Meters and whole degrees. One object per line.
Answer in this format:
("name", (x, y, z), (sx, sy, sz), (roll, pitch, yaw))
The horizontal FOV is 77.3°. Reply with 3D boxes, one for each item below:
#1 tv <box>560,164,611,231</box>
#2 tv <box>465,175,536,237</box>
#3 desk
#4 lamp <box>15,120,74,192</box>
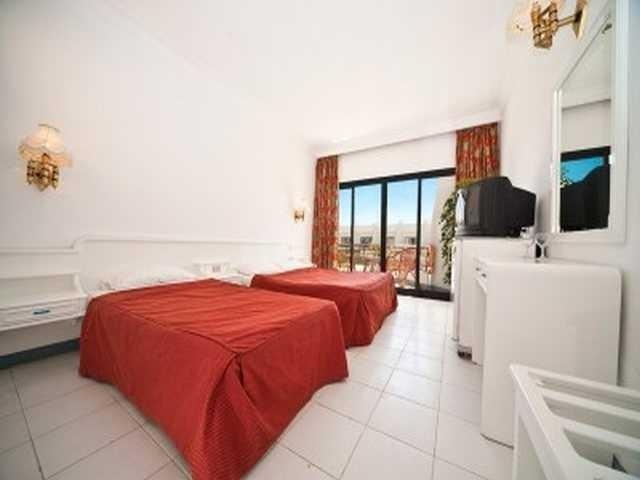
("tv", (1.945, -0.321, 2.981), (0.443, 0.500, 0.008), (-8, 6, -15))
("tv", (1.848, -0.224, 4.305), (0.621, 0.672, 0.725), (7, -17, 5))
("desk", (1.763, 0.956, 3.577), (0.977, 1.595, 1.884), (1, 2, 18))
("lamp", (-2.477, -0.751, 3.665), (0.390, 0.593, 0.158), (-3, 4, -39))
